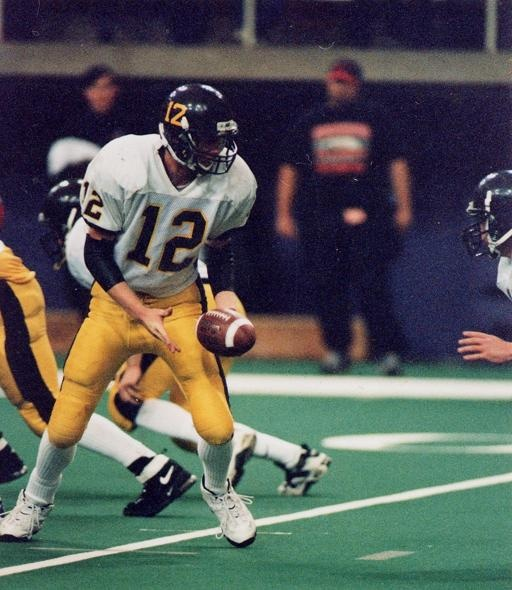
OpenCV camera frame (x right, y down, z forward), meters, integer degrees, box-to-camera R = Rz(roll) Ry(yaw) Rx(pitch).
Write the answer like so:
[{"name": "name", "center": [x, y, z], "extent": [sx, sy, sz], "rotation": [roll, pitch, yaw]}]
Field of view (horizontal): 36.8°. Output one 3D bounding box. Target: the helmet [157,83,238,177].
[{"name": "helmet", "center": [-0.146, -0.416, 1.909], "extent": [0.186, 0.239, 0.150], "rotation": [-5, 6, -28]}]

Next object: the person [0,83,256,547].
[{"name": "person", "center": [-0.321, 0.059, 1.961], "extent": [0.677, 1.188, 0.329], "rotation": [-3, 6, -5]}]

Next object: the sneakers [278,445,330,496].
[{"name": "sneakers", "center": [0.148, 0.541, 2.369], "extent": [0.083, 0.177, 0.118], "rotation": [41, 28, -35]}]

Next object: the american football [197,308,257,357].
[{"name": "american football", "center": [-0.068, 0.087, 1.880], "extent": [0.125, 0.085, 0.174], "rotation": [-3, 11, -36]}]
